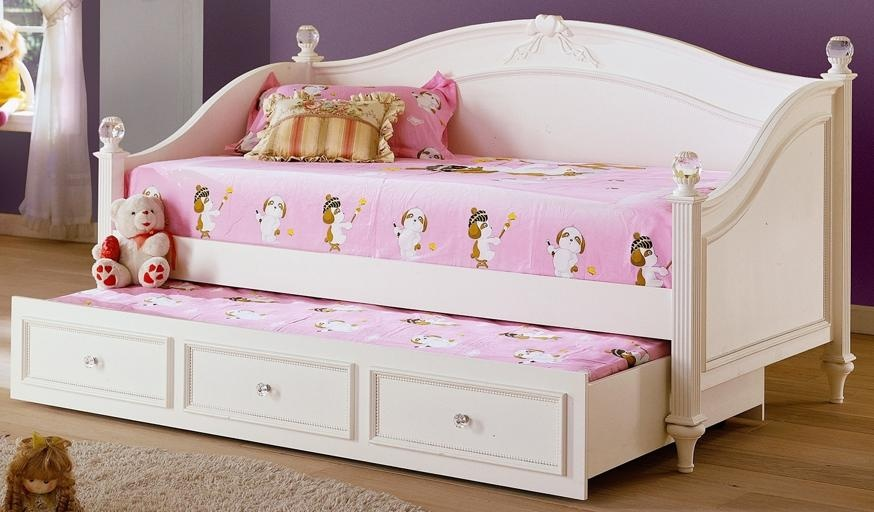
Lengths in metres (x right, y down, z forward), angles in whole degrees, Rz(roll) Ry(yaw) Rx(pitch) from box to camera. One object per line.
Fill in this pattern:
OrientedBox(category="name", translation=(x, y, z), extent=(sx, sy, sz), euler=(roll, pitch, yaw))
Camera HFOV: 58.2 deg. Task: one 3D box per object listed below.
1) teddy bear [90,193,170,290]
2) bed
OrientedBox(category="teddy bear", translation=(-1.314, -0.066, 3.417), extent=(0.381, 0.361, 0.284), euler=(-5, 15, -14))
OrientedBox(category="bed", translation=(0.358, 0.077, 3.434), extent=(3.417, 1.551, 2.396), euler=(4, 7, 31))
